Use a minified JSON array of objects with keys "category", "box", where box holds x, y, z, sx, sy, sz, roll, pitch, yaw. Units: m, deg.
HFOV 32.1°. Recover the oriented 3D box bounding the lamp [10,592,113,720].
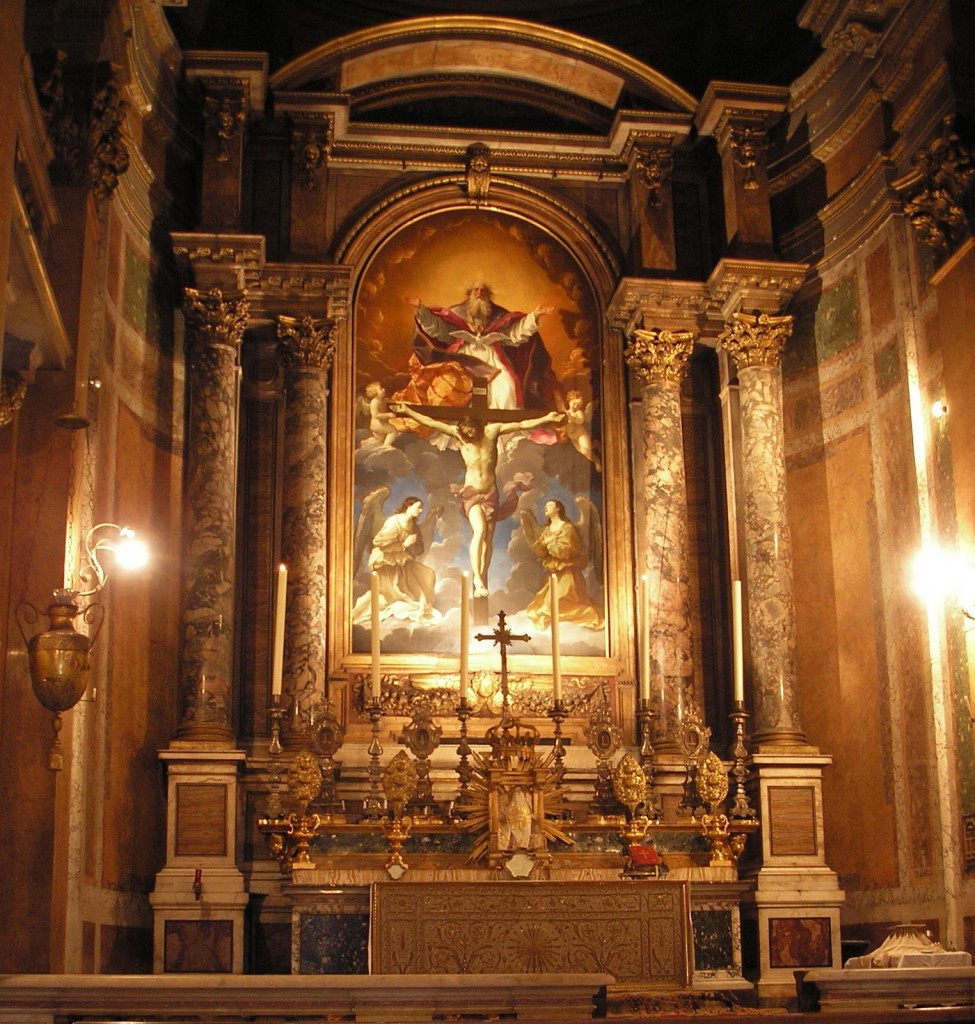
[{"category":"lamp","box":[-2.122,0.665,8.296,0.352,0.831,1.258,4,-19,-13]}]
